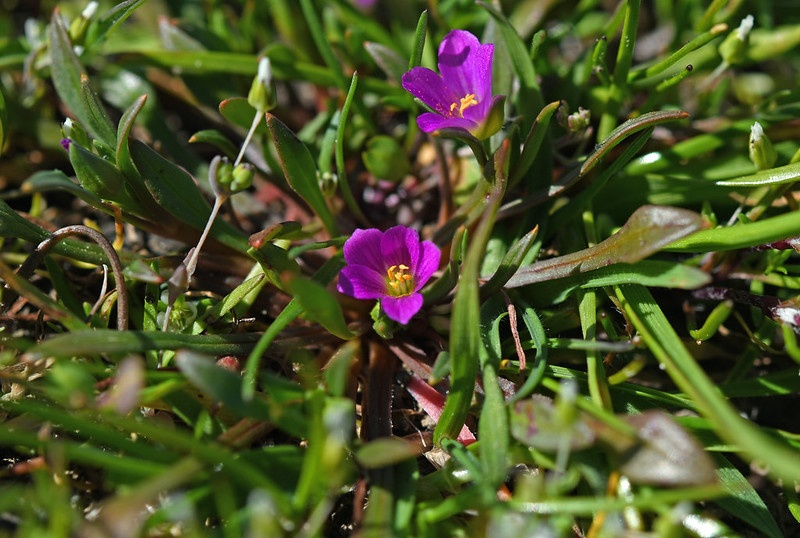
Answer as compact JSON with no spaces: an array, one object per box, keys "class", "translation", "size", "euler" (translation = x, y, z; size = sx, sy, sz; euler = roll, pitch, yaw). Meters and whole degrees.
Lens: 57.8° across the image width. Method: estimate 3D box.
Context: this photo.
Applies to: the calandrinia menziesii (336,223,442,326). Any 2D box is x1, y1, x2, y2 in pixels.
[{"class":"calandrinia menziesii","translation":[-0.020,0.012,1.949],"size":[0.251,0.135,0.324],"euler":[21,56,9]}]
